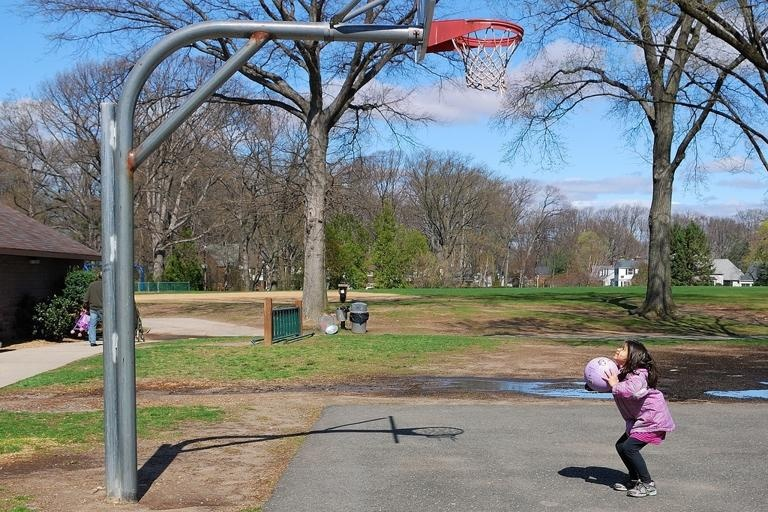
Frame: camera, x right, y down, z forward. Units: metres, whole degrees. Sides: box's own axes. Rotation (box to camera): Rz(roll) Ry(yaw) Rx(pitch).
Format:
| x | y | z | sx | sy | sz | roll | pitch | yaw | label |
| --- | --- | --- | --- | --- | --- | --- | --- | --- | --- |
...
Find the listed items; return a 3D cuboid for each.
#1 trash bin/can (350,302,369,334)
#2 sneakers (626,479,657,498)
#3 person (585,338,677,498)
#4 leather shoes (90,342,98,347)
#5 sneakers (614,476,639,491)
| x | y | z | sx | sy | sz | roll | pitch | yaw | label |
| --- | --- | --- | --- | --- | --- | --- | --- | --- | --- |
| -0.860 | 2.221 | 25.520 | 0.572 | 1.060 | 0.638 | 0 | -3 | -9 | trash bin/can |
| 3.433 | 3.108 | 9.564 | 0.403 | 0.195 | 0.165 | -1 | -5 | -3 | sneakers |
| 3.299 | 2.164 | 9.524 | 1.041 | 2.055 | 0.457 | -1 | -3 | 13 | person |
| -8.939 | 2.757 | 22.137 | 0.108 | 0.130 | 0.327 | 1 | 2 | 2 | leather shoes |
| 3.262 | 3.106 | 9.667 | 0.322 | 0.149 | 0.131 | -2 | -8 | 6 | sneakers |
